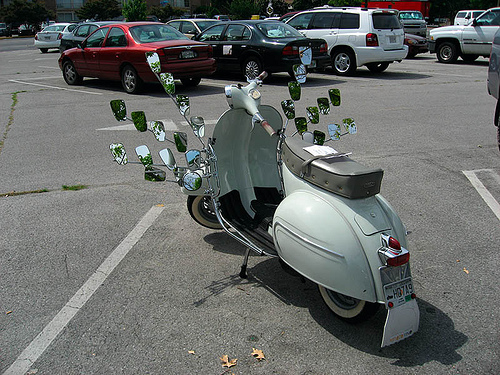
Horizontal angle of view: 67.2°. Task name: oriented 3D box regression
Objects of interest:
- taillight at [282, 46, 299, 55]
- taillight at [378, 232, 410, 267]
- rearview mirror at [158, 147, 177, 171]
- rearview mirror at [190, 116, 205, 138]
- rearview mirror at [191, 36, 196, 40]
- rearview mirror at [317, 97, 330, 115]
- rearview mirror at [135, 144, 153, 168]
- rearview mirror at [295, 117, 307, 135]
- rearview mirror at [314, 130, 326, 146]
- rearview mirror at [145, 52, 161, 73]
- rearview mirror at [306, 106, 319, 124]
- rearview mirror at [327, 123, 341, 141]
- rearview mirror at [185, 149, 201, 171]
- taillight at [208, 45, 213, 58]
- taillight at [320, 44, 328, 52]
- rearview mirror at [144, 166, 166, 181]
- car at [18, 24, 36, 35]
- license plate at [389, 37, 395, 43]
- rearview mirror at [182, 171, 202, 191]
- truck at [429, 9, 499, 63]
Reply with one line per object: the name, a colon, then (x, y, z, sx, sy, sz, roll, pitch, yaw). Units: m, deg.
taillight: (1.362, -4.494, 12.462, 0.665, 0.303, 0.172, -19, 25, -28)
taillight: (0.891, 0.417, 2.417, 0.147, 0.084, 0.219, -14, 66, -37)
rearview mirror: (-0.763, -0.239, 3.515, 0.126, 0.262, 0.339, -10, 23, -11)
rearview mirror: (-0.487, -0.539, 3.492, 0.109, 0.213, 0.278, -8, 22, -8)
rearview mirror: (-2.184, -5.724, 14.512, 0.175, 0.115, 0.639, -9, 23, -7)
rearview mirror: (0.758, -0.862, 3.905, 0.083, 0.121, 0.191, -6, 35, 0)
rearview mirror: (-0.960, -0.268, 3.408, 0.117, 0.203, 0.187, -12, 23, -17)
rearview mirror: (0.511, -0.621, 3.847, 0.090, 0.124, 0.206, -3, 36, 0)
rearview mirror: (0.681, -0.464, 3.701, 0.096, 0.154, 0.202, -1, 23, 11)
rearview mirror: (-0.949, -1.215, 3.698, 0.109, 0.196, 0.364, -10, 23, -12)
rearview mirror: (0.630, -0.739, 3.850, 0.089, 0.126, 0.202, -5, 36, -5)
rearview mirror: (0.846, -0.543, 3.780, 0.102, 0.193, 0.235, 2, 23, 18)
rearview mirror: (-0.528, -0.250, 3.491, 0.133, 0.182, 0.148, -8, 22, -7)
taillight: (-1.261, -4.252, 11.855, 0.057, 0.357, 0.354, 1, 23, 17)
taillight: (2.622, -4.959, 13.456, 0.178, 0.253, 0.404, -4, 36, -2)
rearview mirror: (-0.876, -0.115, 3.471, 0.192, 0.122, 0.102, 31, 31, 23)
car: (-32.952, -23.101, 55.642, 1.514, 1.365, 2.403, -5, 23, 1)
license plate: (5.303, -5.466, 14.052, 0.299, 0.225, 0.075, -21, 26, -33)
rearview mirror: (-0.521, -0.055, 3.400, 0.149, 0.165, 0.035, 4, 4, -22)
truck: (10.216, -7.053, 17.984, 2.313, 1.486, 1.648, 21, 27, 37)
